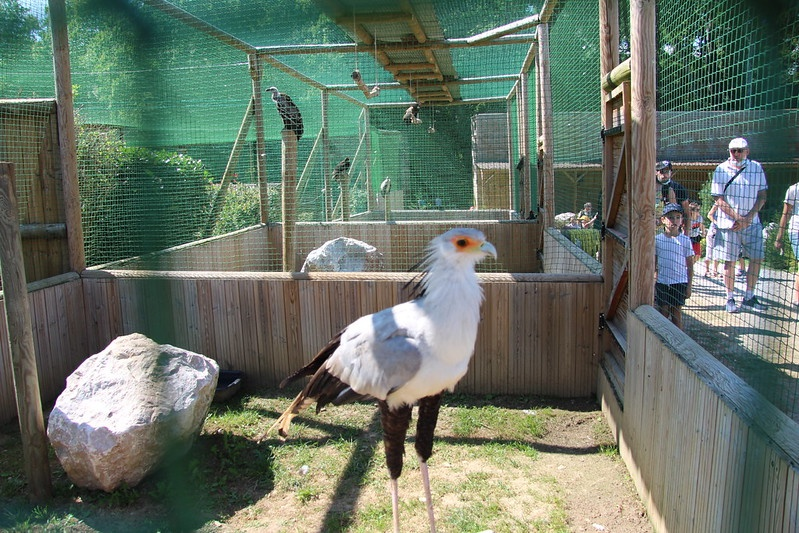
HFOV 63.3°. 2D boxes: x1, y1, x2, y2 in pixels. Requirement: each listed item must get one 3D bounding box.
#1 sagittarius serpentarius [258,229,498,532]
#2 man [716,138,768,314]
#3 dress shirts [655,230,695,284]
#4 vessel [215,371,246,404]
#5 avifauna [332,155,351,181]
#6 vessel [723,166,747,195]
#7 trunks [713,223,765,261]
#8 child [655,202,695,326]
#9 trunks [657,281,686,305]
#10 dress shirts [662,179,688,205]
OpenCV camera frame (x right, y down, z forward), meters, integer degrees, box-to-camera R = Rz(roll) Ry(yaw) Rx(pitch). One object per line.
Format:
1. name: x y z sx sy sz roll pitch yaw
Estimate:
1. sagittarius serpentarius: 0.000 0.908 5.170 1.400 2.459 0.492 6 11 22
2. man: 3.032 -0.376 5.807 0.400 1.534 0.419 1 6 32
3. dress shirts: 2.888 -0.076 6.812 0.413 0.270 0.565 -4 43 30
4. vessel: -1.876 1.295 7.074 0.205 0.117 0.361 3 7 4
5. avifauna: -0.956 -1.672 11.245 0.171 0.354 0.511 8 5 -29
6. vessel: 2.908 -0.784 5.623 0.093 0.102 0.504 15 57 22
7. trunks: 3.096 -0.277 5.903 0.391 0.434 0.237 0 22 25
8. child: 2.882 -0.020 6.792 0.391 1.198 0.831 6 11 24
9. trunks: 2.775 0.310 6.638 0.303 0.259 0.397 7 12 25
10. dress shirts: 3.165 -0.845 7.485 0.256 0.217 0.357 -12 -26 27
